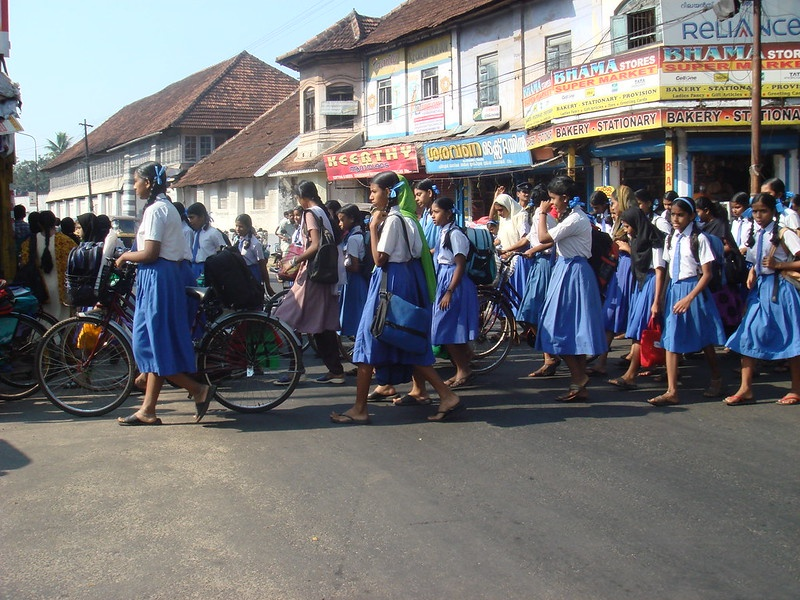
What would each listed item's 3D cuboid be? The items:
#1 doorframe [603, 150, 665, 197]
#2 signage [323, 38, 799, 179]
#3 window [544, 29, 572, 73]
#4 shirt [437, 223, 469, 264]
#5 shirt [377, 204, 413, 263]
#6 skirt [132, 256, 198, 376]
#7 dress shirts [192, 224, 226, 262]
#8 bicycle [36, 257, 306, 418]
[{"bbox_3d":[5.941,-3.078,18.270,1.116,1.476,2.020,9,14,43],"label":"doorframe"},{"bbox_3d":[3.386,-5.210,22.179,3.743,2.819,16.985,-6,10,-35],"label":"signage"},{"bbox_3d":[4.469,-6.821,20.315,0.694,0.854,0.092,-1,1,37],"label":"window"},{"bbox_3d":[0.526,-0.558,7.354,0.243,0.487,0.328,-10,25,-21],"label":"shirt"},{"bbox_3d":[-0.035,-0.636,6.748,0.276,0.473,0.518,3,11,16],"label":"shirt"},{"bbox_3d":[-2.126,0.166,6.499,0.527,1.065,0.358,-4,9,-22],"label":"skirt"},{"bbox_3d":[-2.541,-0.747,9.411,0.480,0.460,0.265,0,8,11],"label":"dress shirts"},{"bbox_3d":[-2.377,0.318,7.535,2.635,1.719,1.251,3,8,0],"label":"bicycle"}]
